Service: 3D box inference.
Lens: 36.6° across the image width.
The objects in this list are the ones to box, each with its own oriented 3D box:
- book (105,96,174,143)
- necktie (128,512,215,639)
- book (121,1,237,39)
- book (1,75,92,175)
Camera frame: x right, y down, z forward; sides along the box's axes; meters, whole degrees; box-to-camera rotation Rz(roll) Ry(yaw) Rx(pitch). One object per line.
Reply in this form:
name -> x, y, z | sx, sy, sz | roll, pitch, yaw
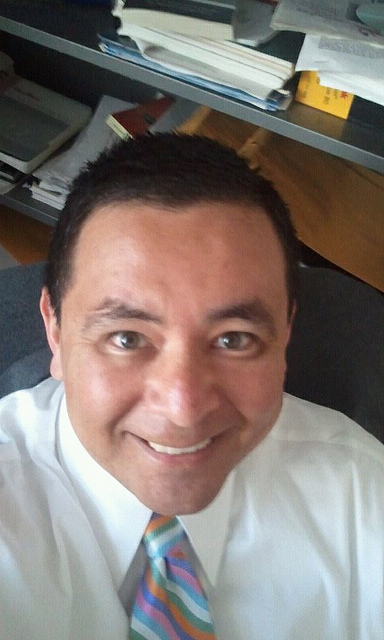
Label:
book -> -0.052, -0.191, 0.569 | 0.062, 0.013, 0.068 | 9, 50, -11
necktie -> -0.009, 0.170, 0.377 | 0.055, 0.042, 0.069 | 8, 41, 2
book -> -0.011, -0.272, 0.519 | 0.103, 0.021, 0.046 | 3, 41, -4
book -> -0.152, -0.194, 0.625 | 0.097, 0.024, 0.104 | 31, 71, 18
